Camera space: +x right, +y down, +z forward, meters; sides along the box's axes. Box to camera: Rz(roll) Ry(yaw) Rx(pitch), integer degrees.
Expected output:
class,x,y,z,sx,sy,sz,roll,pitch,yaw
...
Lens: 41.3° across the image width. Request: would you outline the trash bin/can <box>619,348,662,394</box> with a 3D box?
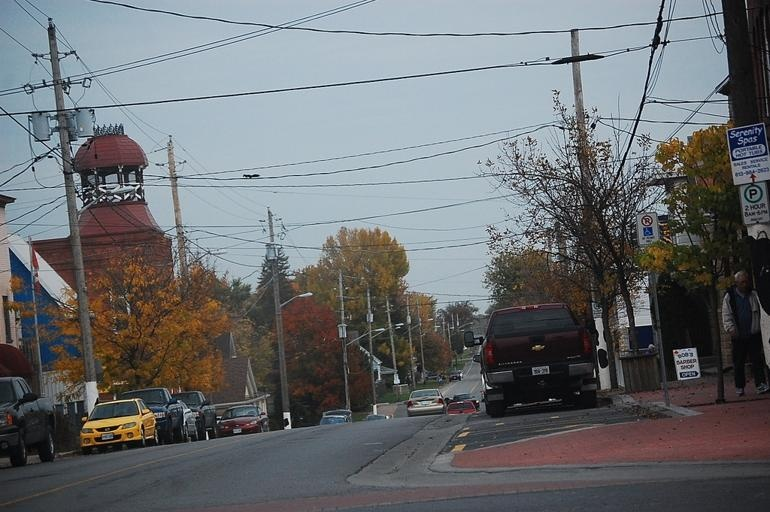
class,x,y,z,sx,sy,sz,roll,pitch,yaw
trash bin/can,7.128,3.200,28.733,1.116,1.086,1.141,0,2,44
